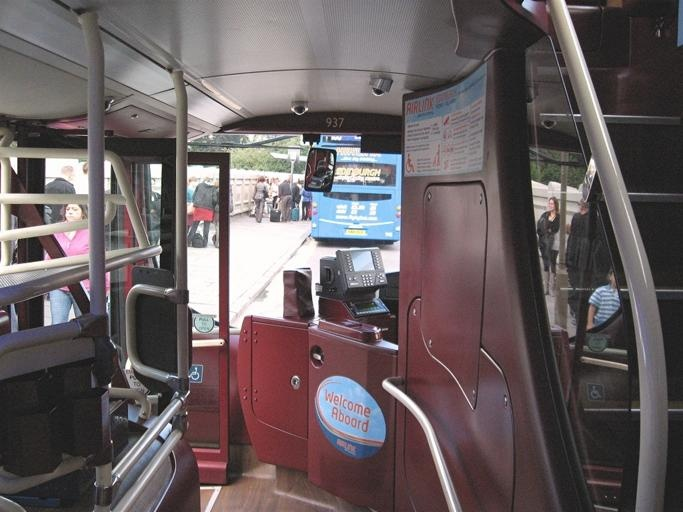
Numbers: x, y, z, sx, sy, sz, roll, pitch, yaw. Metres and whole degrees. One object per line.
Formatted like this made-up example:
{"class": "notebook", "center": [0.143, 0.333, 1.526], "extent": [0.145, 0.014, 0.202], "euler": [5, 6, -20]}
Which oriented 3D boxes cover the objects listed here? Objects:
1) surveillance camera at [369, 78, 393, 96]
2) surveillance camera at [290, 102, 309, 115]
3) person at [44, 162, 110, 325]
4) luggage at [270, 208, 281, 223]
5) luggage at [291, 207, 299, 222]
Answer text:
{"class": "surveillance camera", "center": [0.227, -0.957, 3.007], "extent": [0.077, 0.072, 0.068], "euler": [-28, 47, -33]}
{"class": "surveillance camera", "center": [-0.270, -0.987, 3.559], "extent": [0.083, 0.065, 0.086], "euler": [-6, 20, -14]}
{"class": "person", "center": [-1.841, -0.040, 3.691], "extent": [0.388, 1.199, 1.554], "euler": [-2, 5, -29]}
{"class": "luggage", "center": [-0.796, -0.480, 6.386], "extent": [0.153, 0.161, 0.135], "euler": [5, 22, 9]}
{"class": "luggage", "center": [-0.511, -0.461, 5.919], "extent": [0.116, 0.179, 0.103], "euler": [0, 21, -2]}
